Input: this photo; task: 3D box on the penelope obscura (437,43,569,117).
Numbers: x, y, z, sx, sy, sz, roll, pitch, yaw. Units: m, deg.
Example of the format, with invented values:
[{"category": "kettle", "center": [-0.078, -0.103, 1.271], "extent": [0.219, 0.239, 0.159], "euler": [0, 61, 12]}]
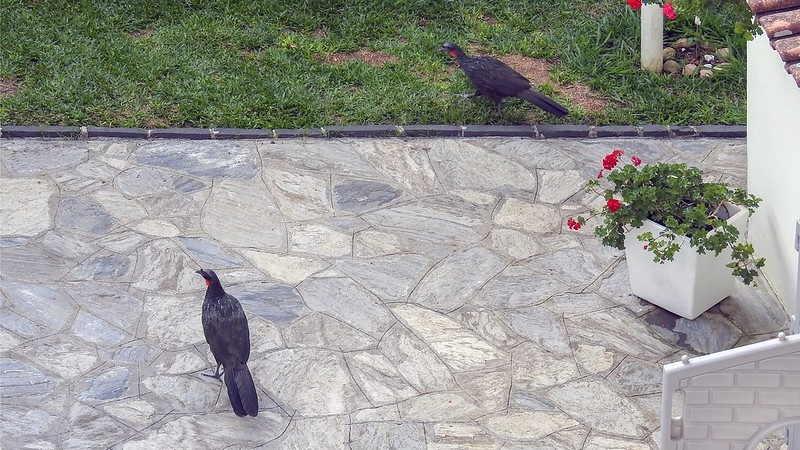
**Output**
[{"category": "penelope obscura", "center": [1.456, -2.015, 14.402], "extent": [1.602, 0.833, 0.447], "euler": [17, 63, 27]}]

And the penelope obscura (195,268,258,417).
[{"category": "penelope obscura", "center": [-1.983, 1.425, 11.576], "extent": [0.610, 1.079, 1.649], "euler": [-10, 51, -24]}]

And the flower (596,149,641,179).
[{"category": "flower", "center": [2.736, -0.747, 12.687], "extent": [0.262, 0.455, 0.242], "euler": [-1, 60, -18]}]
